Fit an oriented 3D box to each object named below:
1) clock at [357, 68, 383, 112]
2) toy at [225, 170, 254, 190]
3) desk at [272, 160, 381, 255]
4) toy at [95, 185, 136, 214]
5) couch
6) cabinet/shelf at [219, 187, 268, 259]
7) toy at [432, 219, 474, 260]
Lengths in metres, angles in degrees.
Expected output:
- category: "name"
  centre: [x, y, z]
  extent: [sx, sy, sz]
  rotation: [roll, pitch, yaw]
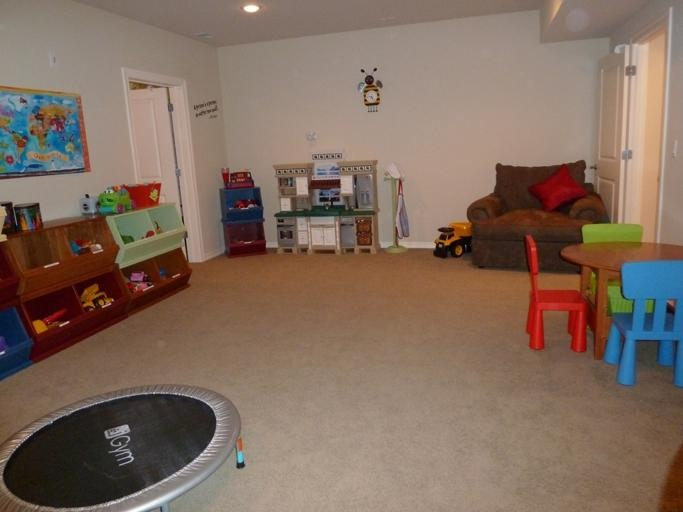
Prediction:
- category: "clock"
  centre: [0.439, -2.406, 7.327]
  extent: [0.344, 0.640, 0.044]
  rotation: [-4, 41, 7]
- category: "toy"
  centre: [-1.577, -1.174, 7.631]
  extent: [0.444, 0.284, 0.272]
  rotation: [-5, 11, -13]
- category: "desk"
  centre: [-0.168, -0.720, 7.528]
  extent: [1.303, 1.242, 0.384]
  rotation: [1, 6, 14]
- category: "toy"
  centre: [-2.435, -0.580, 5.377]
  extent: [0.314, 0.317, 0.311]
  rotation: [-2, 4, 0]
- category: "couch"
  centre: [2.382, -0.266, 6.429]
  extent: [1.443, 1.080, 1.021]
  rotation: [2, 6, 21]
- category: "cabinet/shelf"
  centre: [-1.504, -0.536, 7.647]
  extent: [0.585, 1.018, 0.489]
  rotation: [-8, 13, -23]
- category: "toy"
  centre: [1.677, -0.236, 7.081]
  extent: [0.832, 0.471, 0.406]
  rotation: [-9, 6, -39]
